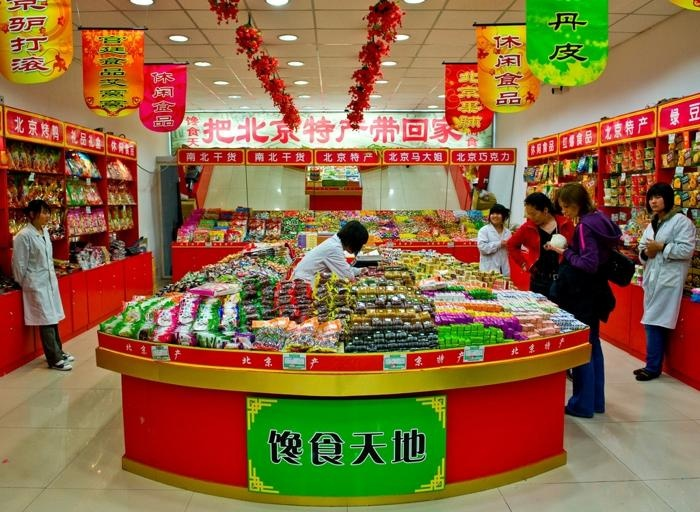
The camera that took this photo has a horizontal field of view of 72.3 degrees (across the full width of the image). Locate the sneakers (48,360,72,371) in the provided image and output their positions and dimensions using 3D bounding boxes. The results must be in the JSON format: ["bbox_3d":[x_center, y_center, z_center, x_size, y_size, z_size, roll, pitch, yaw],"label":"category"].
[{"bbox_3d":[-3.347,1.267,5.600,0.305,0.121,0.111,0,4,0],"label":"sneakers"}]

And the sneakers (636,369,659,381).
[{"bbox_3d":[3.271,1.302,5.264,0.200,0.076,0.114,-5,12,-3],"label":"sneakers"}]

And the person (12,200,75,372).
[{"bbox_3d":[-3.544,0.476,5.599,0.712,1.635,0.401,5,13,25],"label":"person"}]

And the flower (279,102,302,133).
[{"bbox_3d":[-1.058,-2.479,8.410,0.303,0.470,1.206,-2,12,-7],"label":"flower"}]

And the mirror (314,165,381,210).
[{"bbox_3d":[-0.099,-1.152,9.966,1.366,1.246,0.876,1,26,-1],"label":"mirror"}]

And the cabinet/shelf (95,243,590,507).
[{"bbox_3d":[-0.051,0.967,3.674,3.443,1.408,0.994,1,12,8],"label":"cabinet/shelf"}]

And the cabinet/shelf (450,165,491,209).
[{"bbox_3d":[2.465,-1.413,9.965,0.354,0.441,1.246,-1,20,6],"label":"cabinet/shelf"}]

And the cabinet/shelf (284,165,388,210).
[{"bbox_3d":[-0.318,-1.296,9.382,1.091,0.732,0.379,-1,-28,-2],"label":"cabinet/shelf"}]

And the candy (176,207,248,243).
[{"bbox_3d":[-2.594,-0.538,9.042,0.883,0.352,0.902,1,26,0],"label":"candy"}]

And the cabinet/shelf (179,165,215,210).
[{"bbox_3d":[-3.011,-1.370,9.493,0.425,0.780,0.768,1,13,0],"label":"cabinet/shelf"}]
